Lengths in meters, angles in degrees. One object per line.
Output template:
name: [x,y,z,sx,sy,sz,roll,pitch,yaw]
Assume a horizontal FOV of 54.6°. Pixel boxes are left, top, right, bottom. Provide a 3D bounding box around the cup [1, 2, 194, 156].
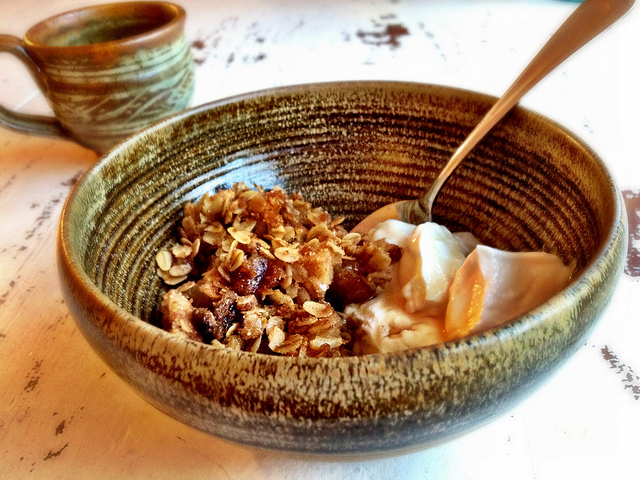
cup: [-0.499,-0.378,1.530,0.491,0.315,0.346,-16,41,-20]
